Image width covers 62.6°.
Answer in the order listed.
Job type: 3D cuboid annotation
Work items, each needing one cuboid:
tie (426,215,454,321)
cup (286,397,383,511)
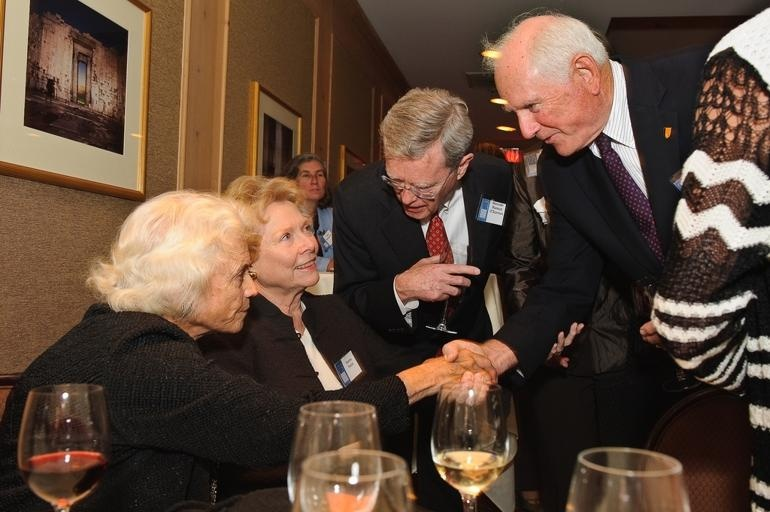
[{"bbox_3d":[0.268,0.057,3.022,0.129,0.506,0.263,-3,10,6],"label":"tie"},{"bbox_3d":[-0.110,0.428,1.335,0.217,0.211,0.220,-3,-18,-1],"label":"cup"}]
